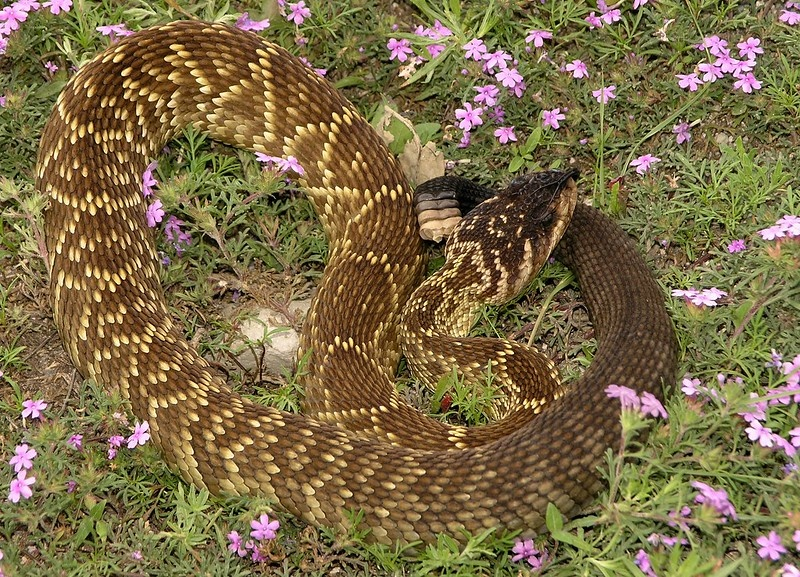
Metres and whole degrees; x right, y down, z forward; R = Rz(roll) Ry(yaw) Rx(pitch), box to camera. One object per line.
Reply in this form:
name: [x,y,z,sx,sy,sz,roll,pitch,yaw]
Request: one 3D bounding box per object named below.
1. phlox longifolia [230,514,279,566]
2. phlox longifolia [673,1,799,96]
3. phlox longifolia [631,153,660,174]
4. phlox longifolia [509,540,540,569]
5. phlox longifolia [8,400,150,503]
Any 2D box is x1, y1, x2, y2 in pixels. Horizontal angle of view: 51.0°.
phlox longifolia: [-0.943,1.622,5.473,0.347,0.284,0.262,-36,68,-20]
phlox longifolia: [2.851,-1.971,7.147,1.073,0.799,0.960,-9,30,-38]
phlox longifolia: [2.029,-1.036,6.955,0.180,0.065,0.178,-31,45,-33]
phlox longifolia: [0.829,1.711,5.471,0.198,0.077,0.186,-23,101,-20]
phlox longifolia: [-2.253,1.015,5.749,0.926,0.318,0.697,-19,63,-13]
